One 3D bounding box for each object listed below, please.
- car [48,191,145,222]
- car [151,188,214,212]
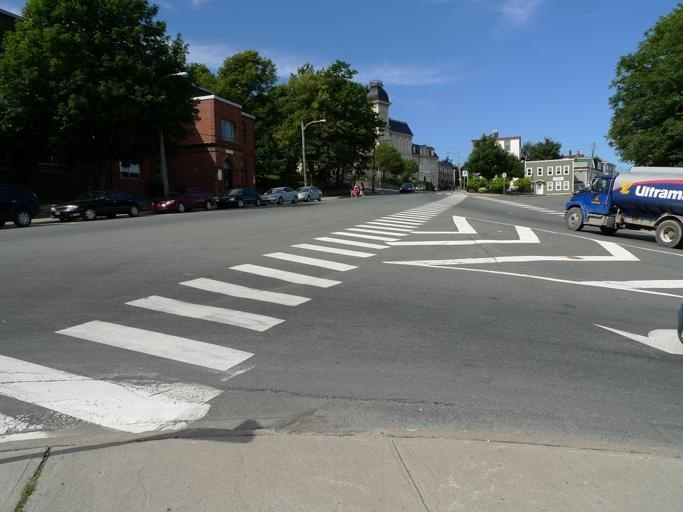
[{"bbox_3d":[-11.882,-2.405,28.085,1.414,1.133,3.447,-1,1,28],"label":"car"},{"bbox_3d":[-9.379,-3.226,34.622,1.393,1.113,3.202,0,2,27],"label":"car"}]
